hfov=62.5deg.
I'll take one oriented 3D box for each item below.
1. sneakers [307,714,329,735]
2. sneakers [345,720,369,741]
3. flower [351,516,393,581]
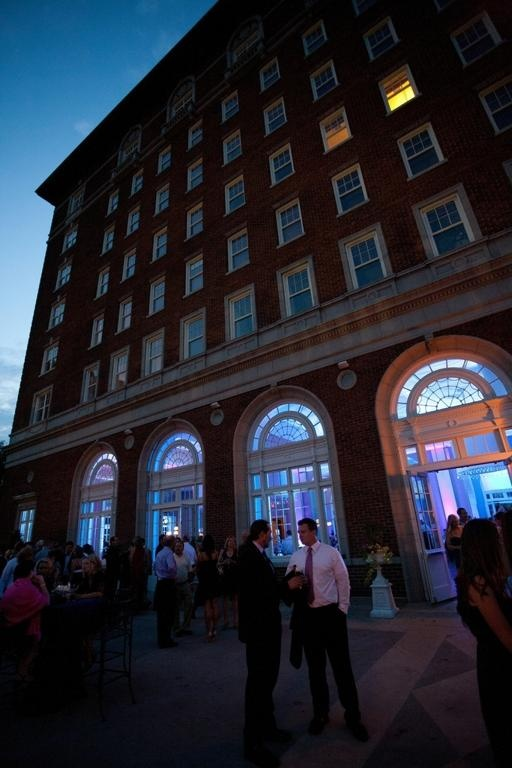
[{"bbox_3d":[0.564,2.941,3.689,0.082,0.159,0.175,-21,-21,36],"label":"sneakers"},{"bbox_3d":[0.853,2.843,3.509,0.160,0.106,0.276,-7,-17,4],"label":"sneakers"},{"bbox_3d":[2.703,3.846,9.544,0.781,1.282,0.675,7,-30,-16],"label":"flower"}]
